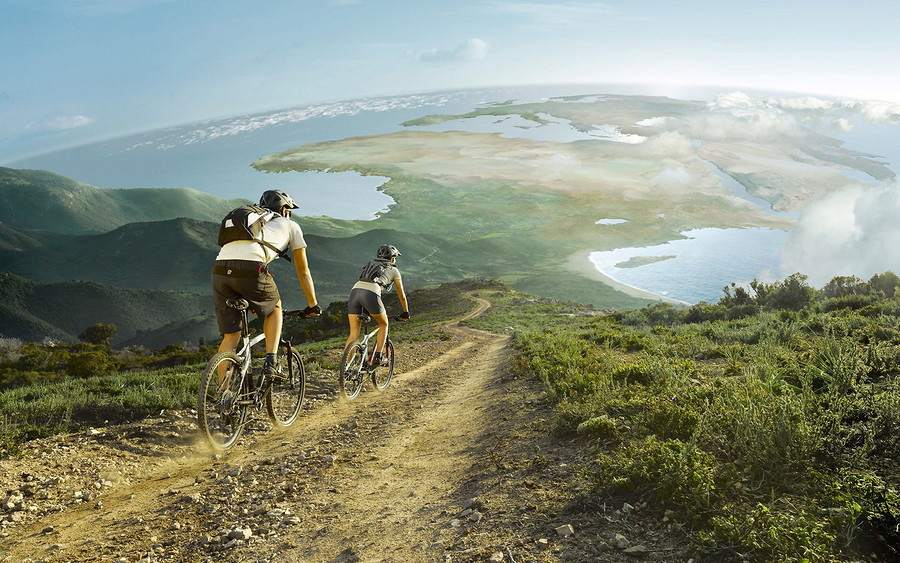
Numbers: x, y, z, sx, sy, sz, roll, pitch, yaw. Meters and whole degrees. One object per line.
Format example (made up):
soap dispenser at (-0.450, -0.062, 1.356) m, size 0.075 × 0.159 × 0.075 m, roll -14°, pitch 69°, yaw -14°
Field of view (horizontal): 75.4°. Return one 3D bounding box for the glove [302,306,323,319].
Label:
glove at (-2.945, 0.642, 12.056) m, size 0.489 × 0.156 × 0.241 m, roll -9°, pitch 12°, yaw -25°

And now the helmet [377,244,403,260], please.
helmet at (-1.820, -0.844, 16.385) m, size 0.517 × 0.308 × 0.703 m, roll 2°, pitch -9°, yaw -24°
